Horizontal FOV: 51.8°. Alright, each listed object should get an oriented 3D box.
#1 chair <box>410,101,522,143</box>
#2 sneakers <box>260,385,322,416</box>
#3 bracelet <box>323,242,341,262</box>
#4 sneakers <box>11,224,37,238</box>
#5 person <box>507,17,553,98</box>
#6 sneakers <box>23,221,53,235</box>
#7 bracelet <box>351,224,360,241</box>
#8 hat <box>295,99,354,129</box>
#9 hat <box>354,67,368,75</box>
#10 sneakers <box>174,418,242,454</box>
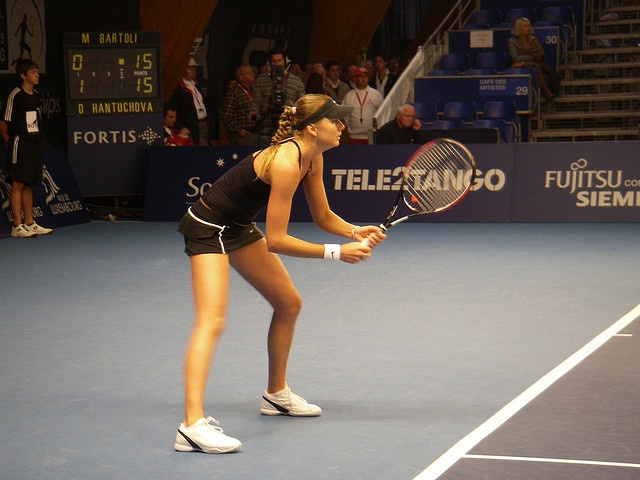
[{"bbox_3d":[2.736,-2.216,12.268,1.902,0.788,3.078,2,10,15],"label":"chair"},{"bbox_3d":[-0.176,0.920,3.798,0.396,0.152,0.140,2,-3,1],"label":"sneakers"},{"bbox_3d":[0.061,0.050,3.423,0.070,0.055,0.085,11,-4,-3],"label":"bracelet"},{"bbox_3d":[-4.396,-0.133,9.859,0.380,0.156,0.156,0,2,14],"label":"sneakers"},{"bbox_3d":[4.490,-3.857,14.041,0.936,1.683,0.650,2,11,15],"label":"person"},{"bbox_3d":[-4.263,-0.185,9.997,0.355,0.126,0.143,2,5,-22],"label":"sneakers"},{"bbox_3d":[0.209,-0.049,3.699,0.025,0.062,0.054,4,-3,-5],"label":"bracelet"},{"bbox_3d":[0.029,-0.641,3.326,0.254,0.085,0.158,-19,13,3],"label":"hat"},{"bbox_3d":[0.798,-3.332,12.892,0.199,0.091,0.269,-3,4,-15],"label":"hat"},{"bbox_3d":[-0.590,0.976,3.321,0.404,0.177,0.143,1,-6,5],"label":"sneakers"}]
